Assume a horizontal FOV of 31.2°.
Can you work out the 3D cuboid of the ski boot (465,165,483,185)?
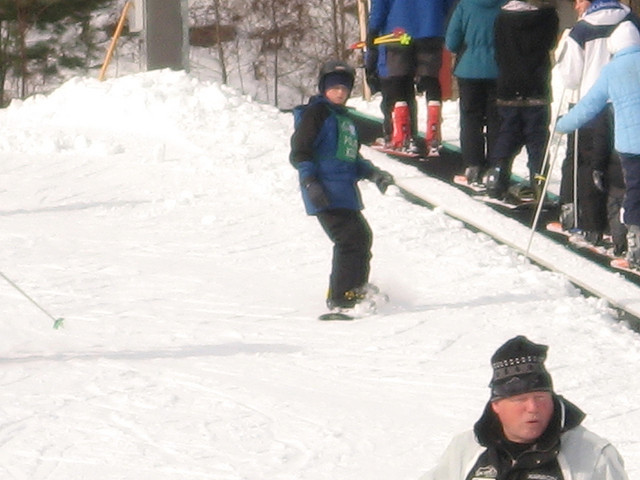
[{"bbox_3d":[1.557,-0.668,11.616,0.165,0.199,0.116,1,13,9],"label":"ski boot"}]

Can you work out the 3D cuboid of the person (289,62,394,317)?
[{"bbox_3d":[0.166,-0.429,9.538,0.818,2.037,0.531,-1,13,-2],"label":"person"}]

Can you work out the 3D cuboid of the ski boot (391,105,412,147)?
[{"bbox_3d":[0.893,-1.248,12.623,0.210,0.484,0.438,0,12,4],"label":"ski boot"}]

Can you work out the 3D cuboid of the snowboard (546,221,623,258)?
[{"bbox_3d":[2.350,-0.067,10.260,0.225,0.101,0.725,-32,38,-23],"label":"snowboard"}]

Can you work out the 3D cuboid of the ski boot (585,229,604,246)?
[{"bbox_3d":[2.457,-0.047,10.206,0.161,0.145,0.101,6,6,24],"label":"ski boot"}]
